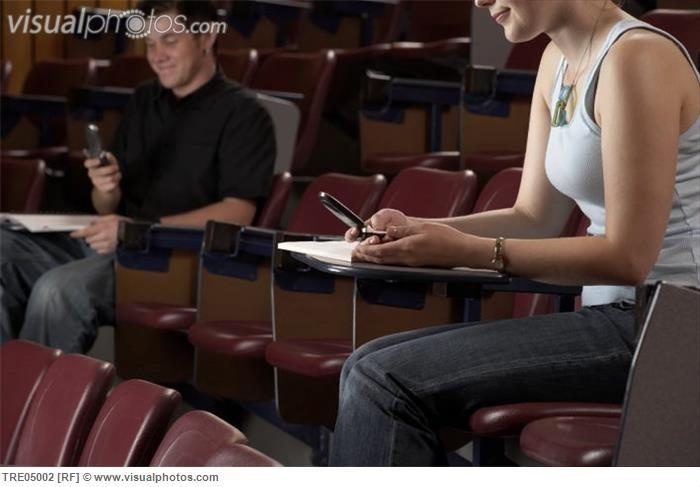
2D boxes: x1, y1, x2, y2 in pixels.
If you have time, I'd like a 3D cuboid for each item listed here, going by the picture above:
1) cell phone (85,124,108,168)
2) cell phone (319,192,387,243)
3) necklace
[{"bbox_3d":[-0.636,-0.247,1.486,0.029,0.127,0.036,-19,33,-22],"label":"cell phone"},{"bbox_3d":[0.012,-0.056,1.237,0.159,0.058,0.032,34,-27,-20],"label":"cell phone"},{"bbox_3d":[0.390,-0.291,1.025,0.050,0.344,0.041,16,-8,-29],"label":"necklace"}]
